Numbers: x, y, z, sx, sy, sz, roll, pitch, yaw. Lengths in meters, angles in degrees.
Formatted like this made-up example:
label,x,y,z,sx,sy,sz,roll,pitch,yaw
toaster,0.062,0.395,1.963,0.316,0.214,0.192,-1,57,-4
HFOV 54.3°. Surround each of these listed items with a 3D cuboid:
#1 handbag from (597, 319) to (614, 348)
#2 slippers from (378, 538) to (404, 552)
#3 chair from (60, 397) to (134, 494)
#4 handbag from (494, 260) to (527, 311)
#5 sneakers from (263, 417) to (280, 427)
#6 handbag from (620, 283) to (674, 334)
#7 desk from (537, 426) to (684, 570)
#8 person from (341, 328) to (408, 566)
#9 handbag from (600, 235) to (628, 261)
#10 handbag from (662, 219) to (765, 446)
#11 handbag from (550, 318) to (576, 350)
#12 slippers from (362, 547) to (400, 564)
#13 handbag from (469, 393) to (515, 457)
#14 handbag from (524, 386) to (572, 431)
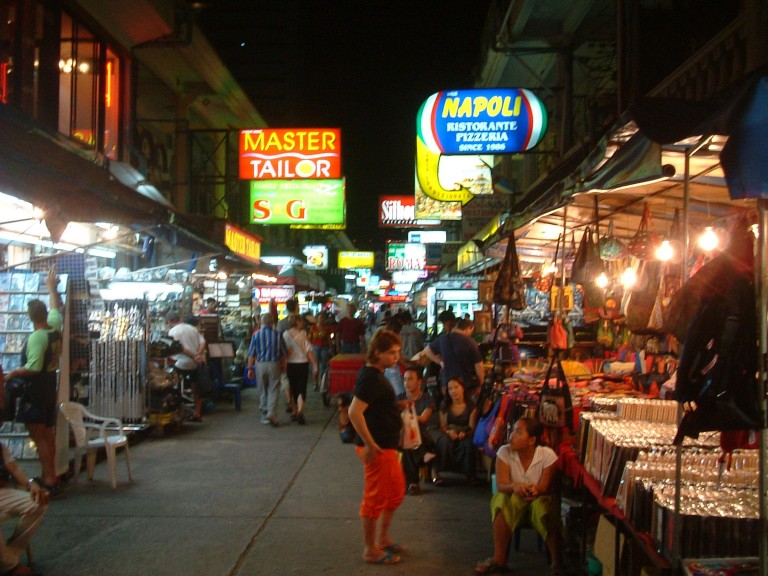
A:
label,x,y,z,sx,sy,sz,roll,pitch,yaw
handbag,3.030,0.591,9.996,0.205,0.360,0.304,1,2,6
slippers,0.085,2.540,7.313,0.259,0.120,0.120,-2,-2,19
chair,-3.684,2.042,9.923,1.062,1.472,1.000,-1,-2,8
handbag,1.973,-0.053,11.421,0.511,0.740,0.317,2,3,41
sneakers,-1.914,2.343,13.172,0.241,0.153,0.408,0,2,-26
handbag,2.752,0.195,7.635,0.292,0.339,0.555,0,2,10
desk,1.911,1.785,6.419,0.593,1.279,0.290,-24,13,-33
person,-0.039,1.508,7.186,0.557,2.201,0.362,0,2,-8
handbag,2.832,-0.508,9.080,0.282,0.346,0.279,-15,14,-42
handbag,2.309,0.340,5.141,0.587,1.482,0.302,1,2,23
handbag,2.332,0.573,9.632,0.302,0.419,0.528,1,2,13
slippers,0.015,2.573,7.161,0.240,0.108,0.143,-5,-2,8
handbag,1.305,1.547,8.561,0.246,0.643,0.484,29,0,-21
handbag,1.733,1.265,7.783,0.499,0.533,0.424,0,-11,8
